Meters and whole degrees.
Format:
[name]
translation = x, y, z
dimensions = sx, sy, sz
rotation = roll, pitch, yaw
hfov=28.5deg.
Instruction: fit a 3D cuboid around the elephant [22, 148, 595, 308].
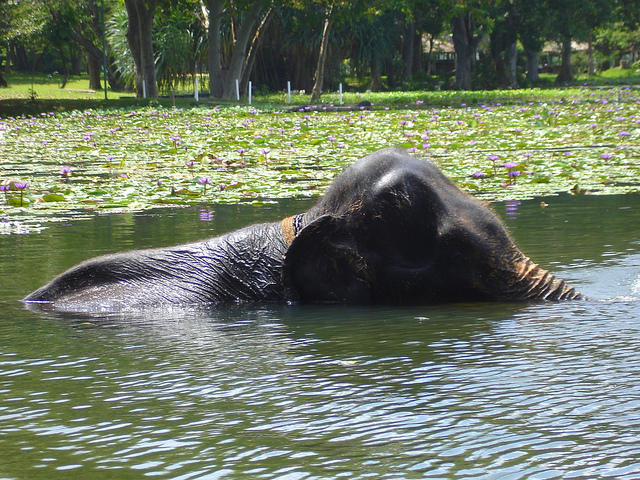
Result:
[elephant]
translation = -0.133, 0.087, 7.185
dimensions = 2.940, 0.910, 1.110
rotation = -4, 25, 4
